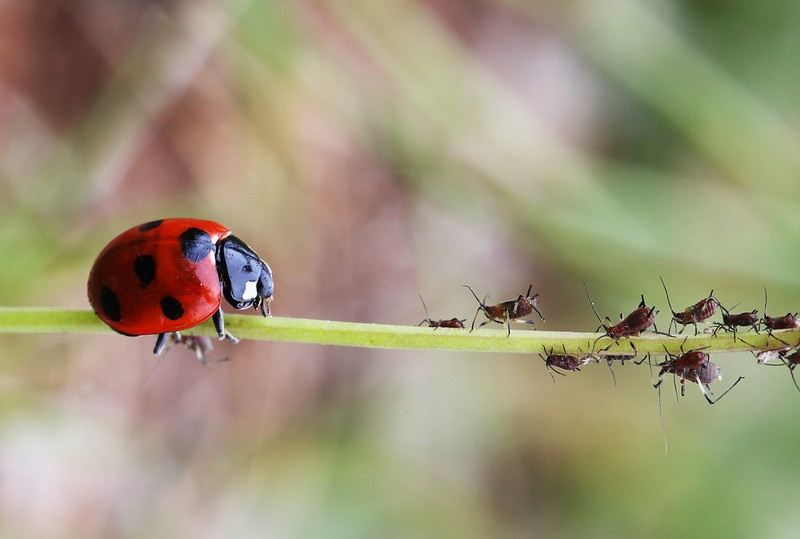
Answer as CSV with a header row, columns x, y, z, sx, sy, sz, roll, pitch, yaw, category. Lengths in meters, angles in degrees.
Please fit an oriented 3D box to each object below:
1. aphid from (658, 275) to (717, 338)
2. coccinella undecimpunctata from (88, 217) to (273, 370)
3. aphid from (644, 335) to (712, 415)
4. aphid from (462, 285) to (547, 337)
x,y,z,sx,sy,sz,roll,pitch,yaw,category
1.897,0.269,5.123,0.386,0.270,0.204,-13,-10,29,aphid
-1.388,0.066,4.985,1.121,0.769,0.708,-1,-52,-12,coccinella undecimpunctata
1.811,0.643,5.035,0.334,0.334,0.952,-3,-9,18,aphid
0.712,0.260,5.316,0.534,0.350,0.418,-3,0,0,aphid
